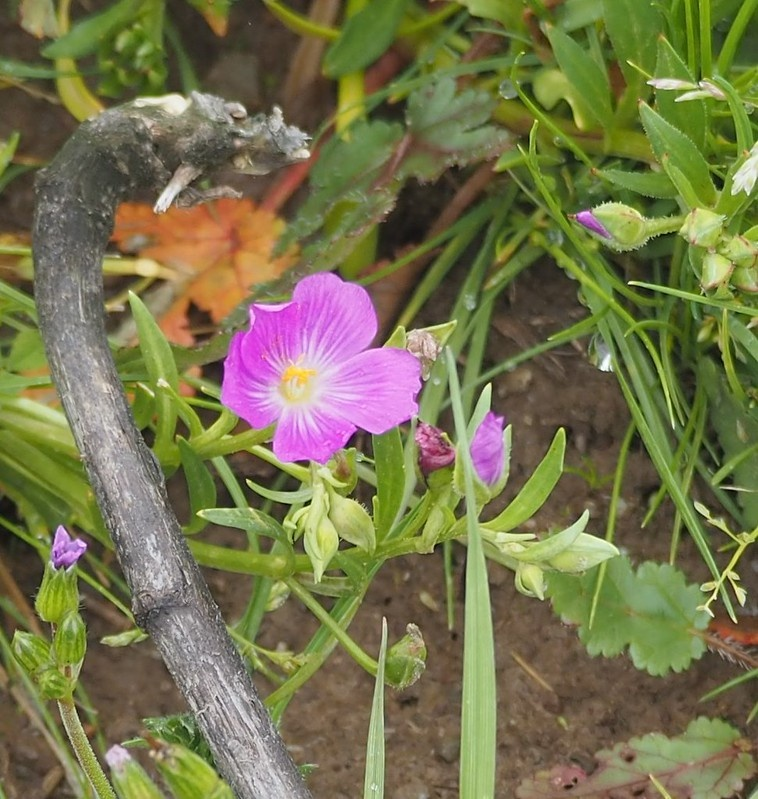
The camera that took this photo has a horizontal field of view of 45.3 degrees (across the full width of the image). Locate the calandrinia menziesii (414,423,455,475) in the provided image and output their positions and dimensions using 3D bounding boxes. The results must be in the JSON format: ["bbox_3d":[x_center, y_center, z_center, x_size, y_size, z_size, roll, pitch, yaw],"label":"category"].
[{"bbox_3d":[0.061,0.055,1.036,0.046,0.052,0.021,-8,14,-4],"label":"calandrinia menziesii"}]

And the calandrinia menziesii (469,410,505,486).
[{"bbox_3d":[0.129,0.050,1.010,0.026,0.071,0.060,3,12,37],"label":"calandrinia menziesii"}]

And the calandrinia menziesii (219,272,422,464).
[{"bbox_3d":[-0.053,-0.038,1.081,0.217,0.122,0.237,27,47,6],"label":"calandrinia menziesii"}]
